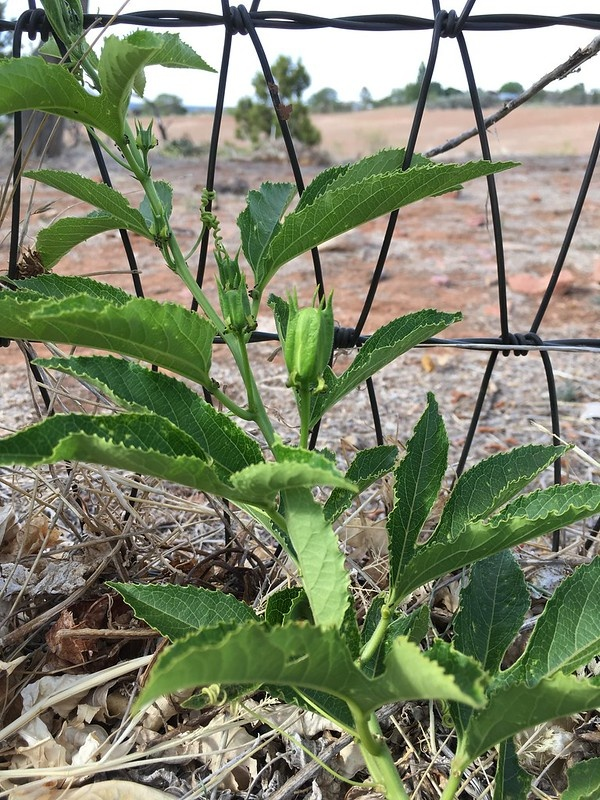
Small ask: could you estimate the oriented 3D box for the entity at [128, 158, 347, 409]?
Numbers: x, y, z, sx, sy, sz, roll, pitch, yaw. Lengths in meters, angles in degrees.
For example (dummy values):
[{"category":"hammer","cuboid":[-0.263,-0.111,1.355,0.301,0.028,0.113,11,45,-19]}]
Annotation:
[{"category":"entity","cuboid":[-0.038,-0.154,1.053,0.297,0.254,0.108,-3,-32,4]}]
